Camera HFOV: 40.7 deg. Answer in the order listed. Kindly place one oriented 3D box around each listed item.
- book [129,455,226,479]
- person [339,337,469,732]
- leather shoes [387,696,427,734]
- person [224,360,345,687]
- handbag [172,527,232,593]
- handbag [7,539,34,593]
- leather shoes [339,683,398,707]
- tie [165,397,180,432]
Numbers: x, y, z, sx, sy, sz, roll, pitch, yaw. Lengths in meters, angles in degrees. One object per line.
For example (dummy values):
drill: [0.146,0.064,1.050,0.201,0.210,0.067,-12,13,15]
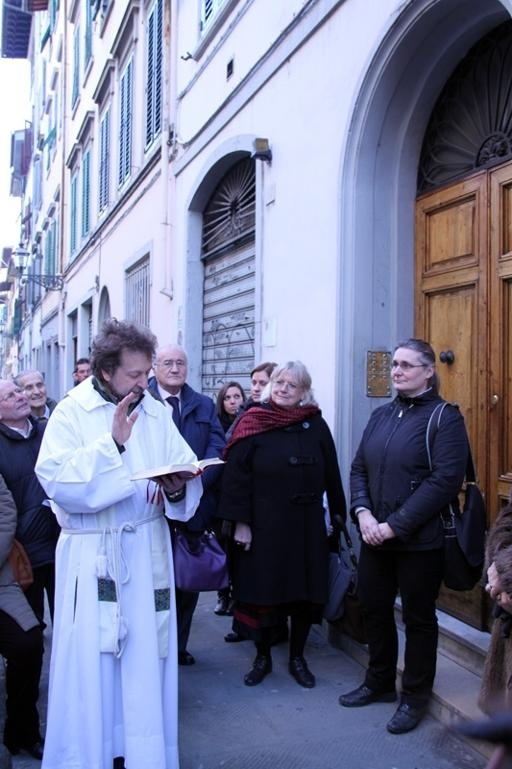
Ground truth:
book: [-0.314,0.327,2.557,0.288,0.083,0.382,-1,-2,19]
person: [0.651,0.635,3.102,0.358,1.675,0.625,1,-2,-31]
leather shoes: [0.659,1.413,2.960,0.079,0.103,0.238,-10,-16,37]
person: [0.150,0.691,3.507,0.696,1.606,0.326,1,-2,-26]
handbag: [-0.260,0.830,3.274,0.290,0.347,0.177,13,-42,-32]
handbag: [-0.983,0.773,2.916,0.055,0.172,0.126,-13,-12,10]
leather shoes: [0.513,1.442,3.248,0.284,0.134,0.101,3,-5,-6]
tie: [-0.456,0.149,3.815,0.052,0.260,0.066,0,-33,-6]
